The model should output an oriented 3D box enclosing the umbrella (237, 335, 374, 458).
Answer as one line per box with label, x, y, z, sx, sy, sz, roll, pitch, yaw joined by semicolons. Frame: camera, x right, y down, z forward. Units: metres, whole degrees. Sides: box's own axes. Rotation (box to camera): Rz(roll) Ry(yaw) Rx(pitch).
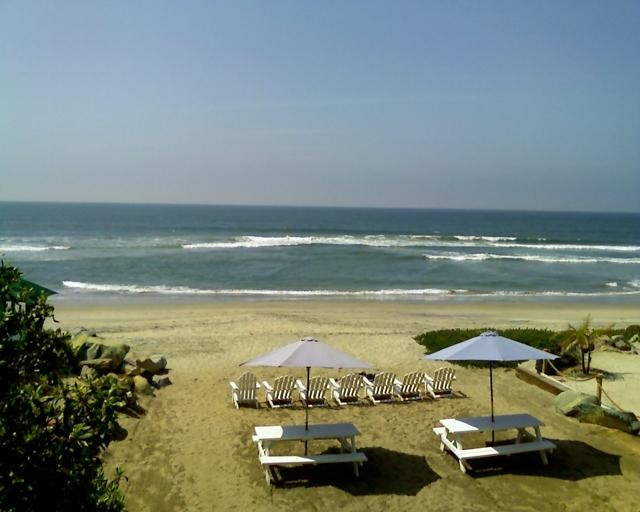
umbrella;-0.240;2.585;10.896;2.226;1.759;2.055;1;-2;-13
